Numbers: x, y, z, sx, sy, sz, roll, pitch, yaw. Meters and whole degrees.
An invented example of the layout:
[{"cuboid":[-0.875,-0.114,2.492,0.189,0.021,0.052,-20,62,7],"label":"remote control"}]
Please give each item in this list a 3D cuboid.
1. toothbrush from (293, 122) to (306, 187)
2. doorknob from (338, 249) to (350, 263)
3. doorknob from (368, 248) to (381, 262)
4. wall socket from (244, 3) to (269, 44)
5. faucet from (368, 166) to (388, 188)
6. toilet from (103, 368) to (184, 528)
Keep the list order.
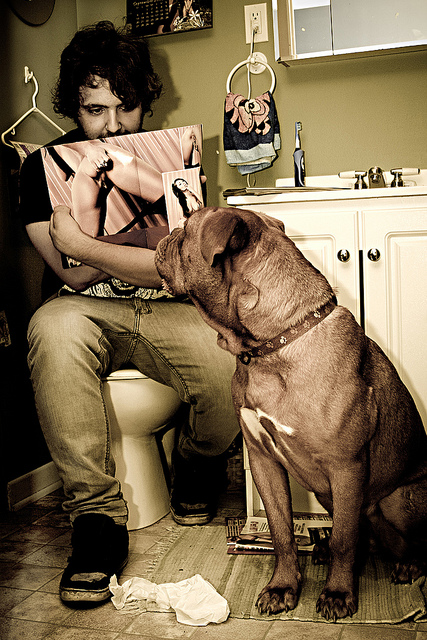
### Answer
[{"cuboid":[0.236,-0.458,1.491,0.029,0.132,0.092,-4,-2,9],"label":"toothbrush"},{"cuboid":[0.271,-0.134,1.106,0.021,0.024,0.016,8,-37,-4],"label":"doorknob"},{"cuboid":[0.328,-0.134,1.093,0.022,0.025,0.018,-45,-12,30],"label":"doorknob"},{"cuboid":[0.134,-0.922,1.668,0.074,0.084,0.031,-4,-2,9],"label":"wall socket"},{"cuboid":[0.444,-0.375,1.450,0.042,0.049,0.152,-5,-2,16],"label":"faucet"},{"cuboid":[-0.175,0.283,1.255,0.218,0.390,0.344,-1,-1,0],"label":"toilet"}]
